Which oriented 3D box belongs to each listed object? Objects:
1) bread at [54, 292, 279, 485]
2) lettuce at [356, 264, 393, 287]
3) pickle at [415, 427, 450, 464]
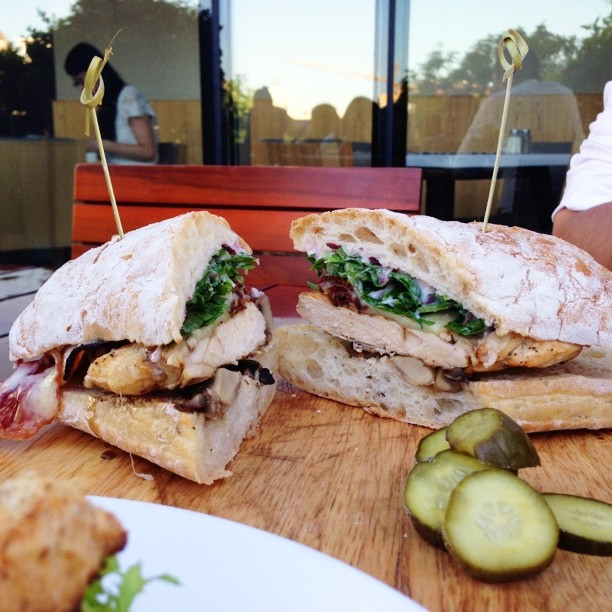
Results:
[{"bbox_3d":[-0.292,0.247,2.175,0.584,0.364,0.773,-11,14,-43],"label":"bread"},{"bbox_3d":[0.260,-0.112,2.390,0.036,0.089,0.090,15,28,-52],"label":"lettuce"},{"bbox_3d":[0.355,0.393,1.798,0.105,0.024,0.071,-27,42,-19],"label":"pickle"}]
